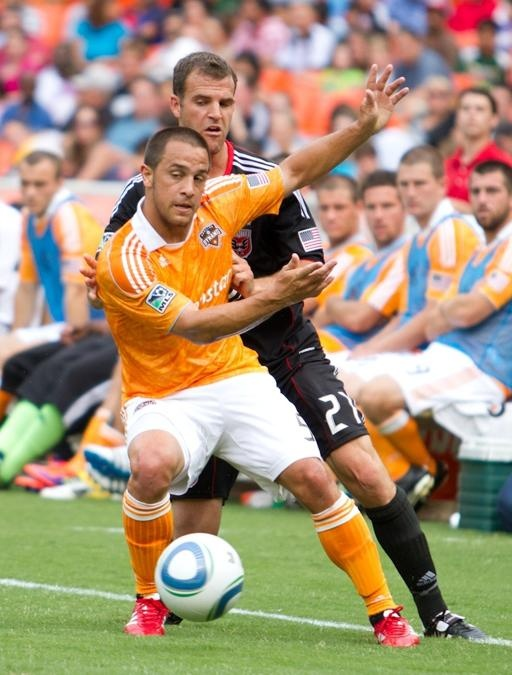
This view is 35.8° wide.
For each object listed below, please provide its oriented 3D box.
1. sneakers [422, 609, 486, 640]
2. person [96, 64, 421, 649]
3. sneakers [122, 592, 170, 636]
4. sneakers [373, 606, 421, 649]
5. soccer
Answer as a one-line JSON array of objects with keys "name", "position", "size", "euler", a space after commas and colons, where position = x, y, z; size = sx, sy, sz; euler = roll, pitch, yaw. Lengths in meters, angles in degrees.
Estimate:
[{"name": "sneakers", "position": [0.582, 0.845, 2.358], "size": [0.188, 0.065, 0.067], "euler": [-6, -1, 39]}, {"name": "person", "position": [-0.083, 0.135, 2.517], "size": [0.799, 1.551, 0.983], "euler": [-2, 20, -10]}, {"name": "sneakers", "position": [-0.314, 0.821, 2.330], "size": [0.067, 0.059, 0.167], "euler": [10, -5, -4]}, {"name": "sneakers", "position": [0.401, 0.840, 2.305], "size": [0.070, 0.066, 0.168], "euler": [-17, 4, -21]}, {"name": "soccer", "position": [-0.160, 0.709, 2.284], "size": [0.225, 0.247, 0.217], "euler": [11, 21, 24]}]
